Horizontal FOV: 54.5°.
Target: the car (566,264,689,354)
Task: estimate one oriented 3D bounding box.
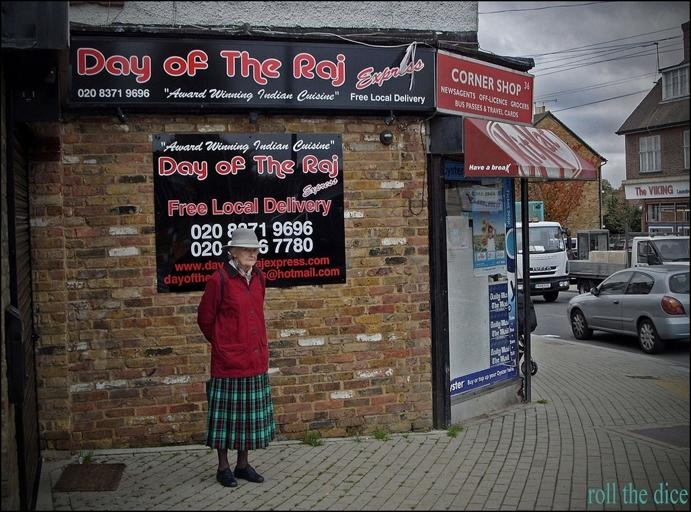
[{"bbox_3d":[5.930,1.003,13.644,1.284,1.106,2.462,0,5,-18],"label":"car"}]

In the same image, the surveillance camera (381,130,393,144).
[{"bbox_3d":[0.479,-1.385,7.900,0.148,0.183,0.065,0,4,-5],"label":"surveillance camera"}]

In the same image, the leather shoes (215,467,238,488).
[{"bbox_3d":[-1.135,2.172,6.519,0.119,0.097,0.225,-1,-1,-32],"label":"leather shoes"}]

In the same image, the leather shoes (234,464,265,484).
[{"bbox_3d":[-0.951,2.172,6.685,0.344,0.149,0.130,1,2,27],"label":"leather shoes"}]
